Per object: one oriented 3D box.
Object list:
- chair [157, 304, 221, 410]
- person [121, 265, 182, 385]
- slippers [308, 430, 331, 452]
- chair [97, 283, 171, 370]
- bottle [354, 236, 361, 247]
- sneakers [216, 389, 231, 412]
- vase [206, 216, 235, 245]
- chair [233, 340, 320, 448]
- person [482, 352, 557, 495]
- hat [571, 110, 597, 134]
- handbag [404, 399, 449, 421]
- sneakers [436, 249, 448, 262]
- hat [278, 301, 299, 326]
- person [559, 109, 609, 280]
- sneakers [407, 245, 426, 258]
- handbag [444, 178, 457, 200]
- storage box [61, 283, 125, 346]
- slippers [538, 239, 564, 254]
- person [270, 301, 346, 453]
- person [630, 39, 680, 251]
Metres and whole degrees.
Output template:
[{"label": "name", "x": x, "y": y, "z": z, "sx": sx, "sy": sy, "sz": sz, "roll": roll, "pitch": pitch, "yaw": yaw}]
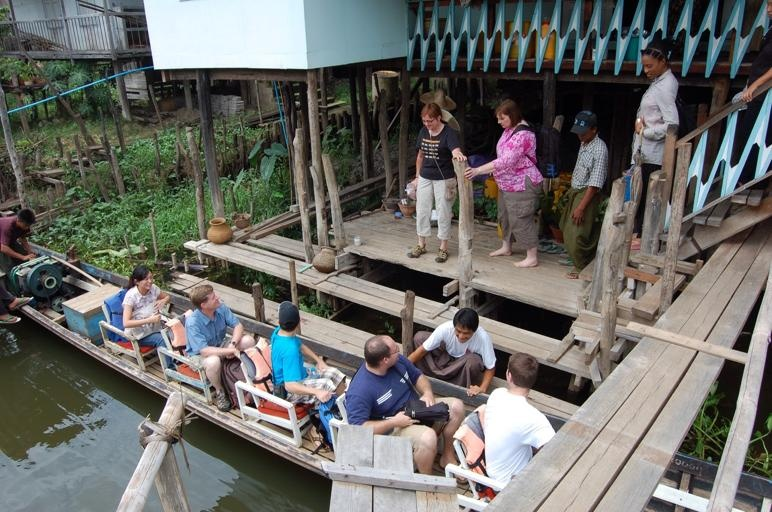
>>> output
[{"label": "chair", "x": -3.247, "y": 1.722, "z": 8.821, "sx": 0.729, "sy": 0.856, "sz": 1.018, "roll": 14, "pitch": -7, "yaw": -16}, {"label": "person", "x": -3.927, "y": 1.230, "z": 9.027, "sx": 0.972, "sy": 1.631, "sz": 0.901, "roll": 23, "pitch": 54, "yaw": 3}, {"label": "slippers", "x": -0.960, "y": 2.554, "z": 7.521, "sx": 0.169, "sy": 0.154, "sz": 0.435, "roll": -50, "pitch": 52, "yaw": 2}, {"label": "chair", "x": -4.259, "y": 1.167, "z": 9.378, "sx": 0.859, "sy": 0.992, "sz": 1.067, "roll": 15, "pitch": 29, "yaw": 13}, {"label": "bottle", "x": -0.537, "y": -0.284, "z": 10.807, "sx": 0.162, "sy": 0.193, "sz": 0.162, "roll": -11, "pitch": 24, "yaw": -37}, {"label": "sneakers", "x": -2.439, "y": 2.166, "z": 8.141, "sx": 0.138, "sy": 0.154, "sz": 0.363, "roll": -35, "pitch": 67, "yaw": 13}, {"label": "vase", "x": -3.729, "y": -0.627, "z": 12.177, "sx": 0.562, "sy": 0.502, "sz": 0.572, "roll": 21, "pitch": 31, "yaw": 27}, {"label": "chair", "x": -1.482, "y": 1.889, "z": 7.866, "sx": 0.910, "sy": 1.056, "sz": 1.131, "roll": 10, "pitch": 20, "yaw": 19}, {"label": "person", "x": 1.385, "y": 1.763, "z": 5.859, "sx": 0.663, "sy": 1.220, "sz": 0.635, "roll": -9, "pitch": 27, "yaw": -14}, {"label": "hat", "x": 3.107, "y": -2.061, "z": 8.420, "sx": 0.278, "sy": 0.240, "sz": 0.450, "roll": 23, "pitch": 51, "yaw": 34}, {"label": "handbag", "x": 0.505, "y": 1.903, "z": 6.679, "sx": 0.362, "sy": 0.128, "sz": 0.288, "roll": 1, "pitch": 13, "yaw": 1}, {"label": "sneakers", "x": 1.030, "y": -0.004, "z": 9.823, "sx": 0.151, "sy": 0.120, "sz": 0.277, "roll": 4, "pitch": 28, "yaw": 19}, {"label": "hat", "x": -1.286, "y": 0.746, "z": 7.121, "sx": 0.201, "sy": 0.175, "sz": 0.320, "roll": -2, "pitch": 45, "yaw": -13}, {"label": "person", "x": 3.202, "y": -0.954, "z": 8.730, "sx": 0.635, "sy": 2.619, "sz": 0.734, "roll": 6, "pitch": 27, "yaw": 18}, {"label": "sneakers", "x": 0.584, "y": -0.076, "z": 10.094, "sx": 0.185, "sy": 0.158, "sz": 0.341, "roll": 27, "pitch": 39, "yaw": 37}, {"label": "handbag", "x": 1.163, "y": -1.165, "z": 9.543, "sx": 0.234, "sy": 0.415, "sz": 0.061, "roll": -21, "pitch": 31, "yaw": -33}, {"label": "storage box", "x": -5.268, "y": 1.096, "z": 9.760, "sx": 0.590, "sy": 0.769, "sz": 0.807, "roll": 23, "pitch": 37, "yaw": 25}, {"label": "slippers", "x": 3.072, "y": -0.163, "z": 9.927, "sx": 0.269, "sy": 0.050, "sz": 0.283, "roll": -17, "pitch": 31, "yaw": -26}, {"label": "person", "x": -1.093, "y": 1.745, "z": 7.518, "sx": 1.137, "sy": 2.126, "sz": 1.000, "roll": -13, "pitch": 41, "yaw": -12}, {"label": "person", "x": 4.105, "y": -1.720, "z": 8.365, "sx": 0.642, "sy": 2.981, "sz": 1.223, "roll": 9, "pitch": 28, "yaw": 23}]
